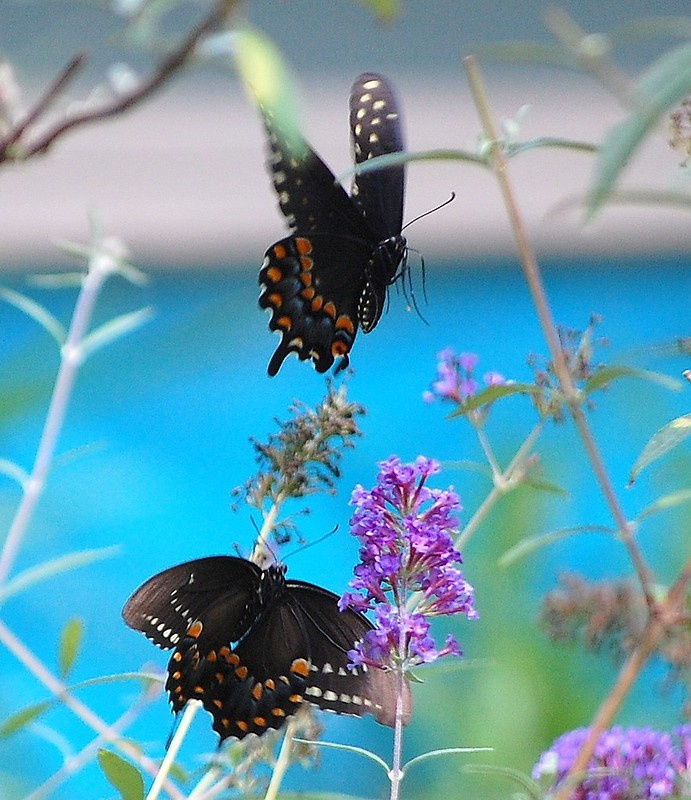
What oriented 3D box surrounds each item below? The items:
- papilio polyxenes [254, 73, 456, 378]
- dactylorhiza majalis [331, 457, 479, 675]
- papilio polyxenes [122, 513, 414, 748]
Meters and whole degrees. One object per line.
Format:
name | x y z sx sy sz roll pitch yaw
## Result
papilio polyxenes | -0.013 -0.212 1.963 0.237 0.297 0.506 0 -23 0
dactylorhiza majalis | 0.047 0.184 1.484 0.140 0.297 0.166 -5 11 -21
papilio polyxenes | -0.124 0.291 1.785 0.210 0.330 0.465 48 -16 -7
